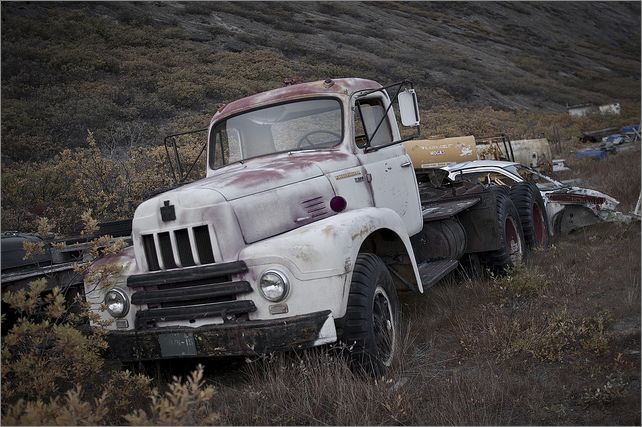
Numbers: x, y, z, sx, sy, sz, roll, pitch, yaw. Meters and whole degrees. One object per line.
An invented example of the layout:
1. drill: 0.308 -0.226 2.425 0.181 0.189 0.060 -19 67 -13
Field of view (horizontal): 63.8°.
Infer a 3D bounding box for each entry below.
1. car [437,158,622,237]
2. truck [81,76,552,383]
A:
1. car: 4.695 -0.030 11.328 2.937 1.036 2.047 -7 11 4
2. truck: 0.523 -0.054 8.279 3.024 2.665 6.740 -10 -1 27
